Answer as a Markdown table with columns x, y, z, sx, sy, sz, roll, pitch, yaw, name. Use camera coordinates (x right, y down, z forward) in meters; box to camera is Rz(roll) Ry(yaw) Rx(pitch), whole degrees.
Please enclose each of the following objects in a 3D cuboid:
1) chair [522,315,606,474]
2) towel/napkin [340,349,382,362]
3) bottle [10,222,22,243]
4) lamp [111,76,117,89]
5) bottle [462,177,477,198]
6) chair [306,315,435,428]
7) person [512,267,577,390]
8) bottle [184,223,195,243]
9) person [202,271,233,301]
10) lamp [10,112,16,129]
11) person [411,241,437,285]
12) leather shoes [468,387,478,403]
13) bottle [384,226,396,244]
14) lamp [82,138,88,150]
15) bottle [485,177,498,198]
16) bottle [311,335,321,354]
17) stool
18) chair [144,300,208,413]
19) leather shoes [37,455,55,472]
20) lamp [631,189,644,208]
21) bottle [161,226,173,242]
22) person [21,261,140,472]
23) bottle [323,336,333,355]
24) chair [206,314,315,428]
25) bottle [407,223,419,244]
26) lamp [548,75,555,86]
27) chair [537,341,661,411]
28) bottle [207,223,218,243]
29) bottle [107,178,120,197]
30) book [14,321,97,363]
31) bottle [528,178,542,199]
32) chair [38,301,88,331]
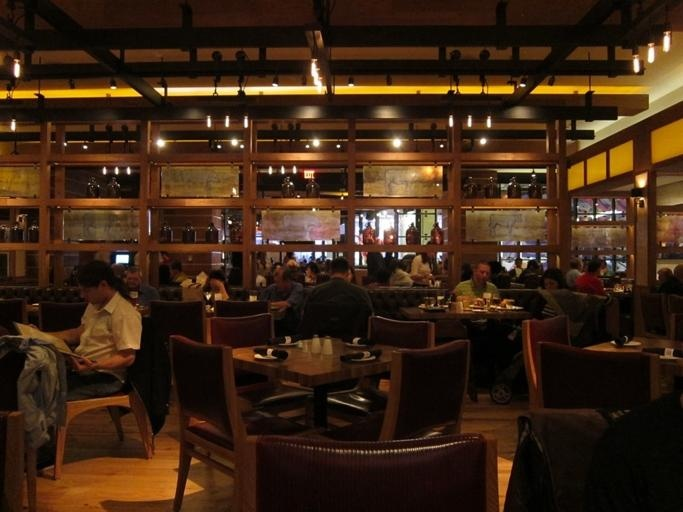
| x | y | z | sx | sy | sz | roll | pitch | yaw | name |
| --- | --- | --- | --- | --- | --- | --- | --- | --- | --- |
| 1.934 | 0.933 | 6.246 | 0.694 | 0.775 | 0.736 | -5 | 1 | 35 | chair |
| 0.148 | 0.751 | 5.410 | 0.203 | 0.052 | 0.117 | -1 | -3 | -44 | towel/napkin |
| -4.760 | -0.335 | 10.557 | 0.181 | 0.265 | 0.142 | 6 | 12 | 31 | bottle |
| -2.967 | -2.235 | 9.397 | 0.054 | 0.120 | 1.130 | -3 | 11 | -16 | lamp |
| 1.864 | -0.983 | 10.446 | 0.206 | 0.277 | 0.343 | 2 | 10 | 9 | bottle |
| 0.173 | 0.922 | 6.139 | 0.730 | 1.282 | 0.795 | -5 | -13 | 40 | chair |
| 2.118 | 0.628 | 8.200 | 0.668 | 1.160 | 0.416 | 20 | 3 | 24 | person |
| -2.155 | -0.313 | 10.495 | 0.230 | 0.341 | 0.242 | -1 | 2 | 0 | bottle |
| -1.620 | 0.390 | 9.380 | 0.338 | 0.436 | 1.419 | -2 | 10 | -11 | person |
| -4.495 | -1.834 | 9.895 | 0.074 | 0.221 | 0.821 | -5 | 11 | -24 | lamp |
| 1.476 | 0.219 | 12.618 | 0.394 | 0.750 | 0.457 | 8 | 1 | -44 | person |
| 1.405 | 1.480 | 7.763 | 0.109 | 0.153 | 0.185 | 2 | 10 | 10 | leather shoes |
| 0.714 | -0.300 | 10.435 | 0.207 | 0.209 | 0.261 | 4 | 11 | 20 | bottle |
| -4.515 | -1.949 | 12.743 | 0.067 | 0.188 | 0.795 | -3 | 11 | -18 | lamp |
| 2.192 | -0.994 | 10.524 | 0.196 | 0.259 | 0.316 | 2 | 11 | 12 | bottle |
| -0.191 | 0.706 | 5.722 | 0.114 | 0.163 | 0.113 | -1 | -4 | 0 | bottle |
| -2.057 | 1.461 | 6.253 | 0.743 | 0.580 | 0.764 | 1 | -10 | -19 | stool |
| -1.725 | 0.888 | 7.595 | 0.539 | 0.733 | 0.592 | 0 | -14 | -14 | chair |
| -2.465 | 1.726 | 6.025 | 0.117 | 0.071 | 0.118 | 1 | -5 | 12 | leather shoes |
| 5.152 | -1.003 | 12.561 | 0.232 | 0.366 | 0.472 | 4 | 11 | 22 | lamp |
| -2.564 | -0.325 | 10.499 | 0.231 | 0.240 | 0.188 | 2 | 10 | 8 | bottle |
| -2.245 | 0.927 | 6.081 | 1.019 | 1.666 | 0.826 | 1 | 9 | -34 | person |
| -0.101 | 0.713 | 5.651 | 0.108 | 0.150 | 0.109 | -1 | -3 | 0 | bottle |
| -0.693 | 1.164 | 6.132 | 0.779 | 1.267 | 0.806 | -3 | 2 | -44 | chair |
| 0.990 | -0.303 | 10.445 | 0.227 | 0.379 | 0.227 | -1 | -2 | 0 | bottle |
| 2.774 | -2.323 | 9.557 | 0.063 | 0.155 | 1.117 | 3 | 11 | 17 | lamp |
| 1.833 | 0.789 | 5.224 | 0.622 | 0.716 | 0.495 | -3 | 2 | -44 | chair |
| -1.858 | -0.294 | 10.368 | 0.178 | 0.212 | 0.137 | 5 | 11 | 26 | bottle |
| -3.375 | -1.015 | 10.691 | 0.161 | 0.282 | 0.319 | -3 | 11 | -19 | bottle |
| -2.244 | 0.582 | 5.743 | 0.417 | 0.186 | 0.524 | 24 | -10 | 23 | book |
| 2.769 | -0.979 | 10.351 | 0.193 | 0.295 | 0.315 | 3 | 11 | 14 | bottle |
| -2.720 | 0.571 | 7.044 | 0.322 | 0.404 | 0.334 | 1 | 6 | -16 | chair |
